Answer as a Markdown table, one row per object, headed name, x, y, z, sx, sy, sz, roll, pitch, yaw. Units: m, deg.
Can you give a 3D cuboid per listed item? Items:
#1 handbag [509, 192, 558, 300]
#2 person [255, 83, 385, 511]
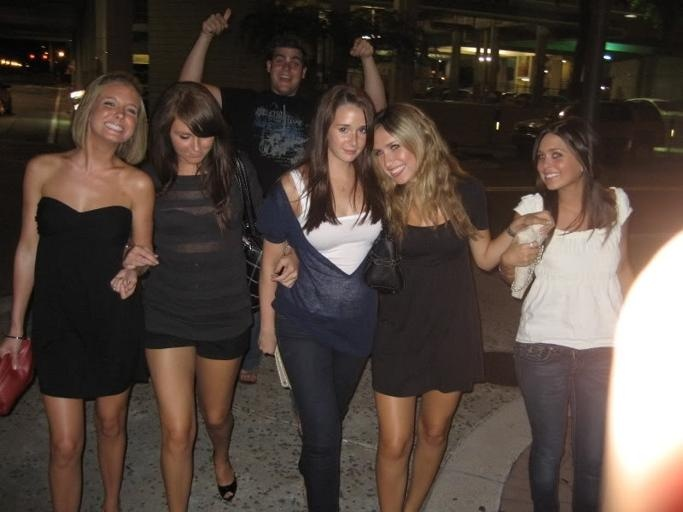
| name | x | y | z | sx | sy | sz | roll | pitch | yaw |
| --- | --- | --- | --- | --- | --- | --- | --- | --- | --- |
| handbag | 1.230 | -0.072 | 3.628 | 0.221 | 0.670 | 0.174 | 15 | -8 | -40 |
| person | -0.050 | 0.224 | 3.555 | 0.779 | 2.531 | 0.816 | -3 | 14 | -26 |
